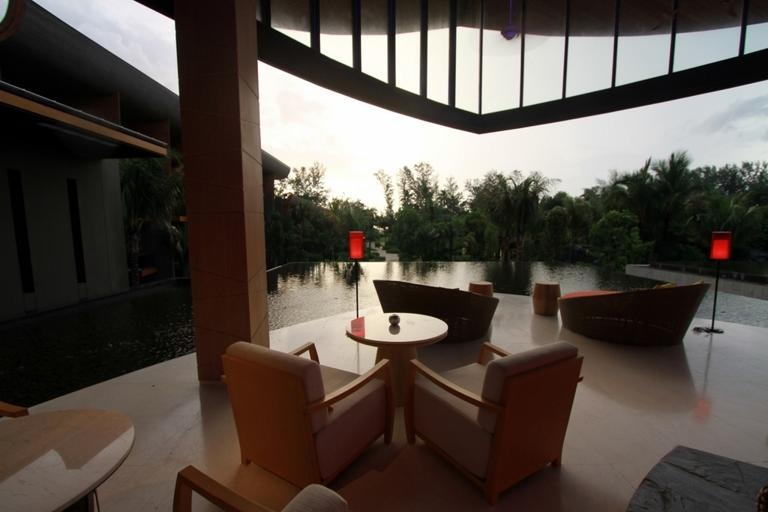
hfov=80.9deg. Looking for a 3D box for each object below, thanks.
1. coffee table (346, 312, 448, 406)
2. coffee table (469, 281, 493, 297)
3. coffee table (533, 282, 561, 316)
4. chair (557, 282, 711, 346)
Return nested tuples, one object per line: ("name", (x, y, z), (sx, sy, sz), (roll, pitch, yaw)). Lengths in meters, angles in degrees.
("coffee table", (0.186, 1.324, 7.187), (1.382, 1.078, 1.415), (6, 11, 39))
("coffee table", (2.201, 0.734, 10.082), (0.391, 0.313, 0.419), (-1, 8, -2))
("coffee table", (3.701, 0.968, 10.267), (0.632, 0.712, 0.663), (0, 7, -2))
("chair", (4.550, 1.098, 8.450), (1.452, 0.968, 1.834), (0, 3, -40))
